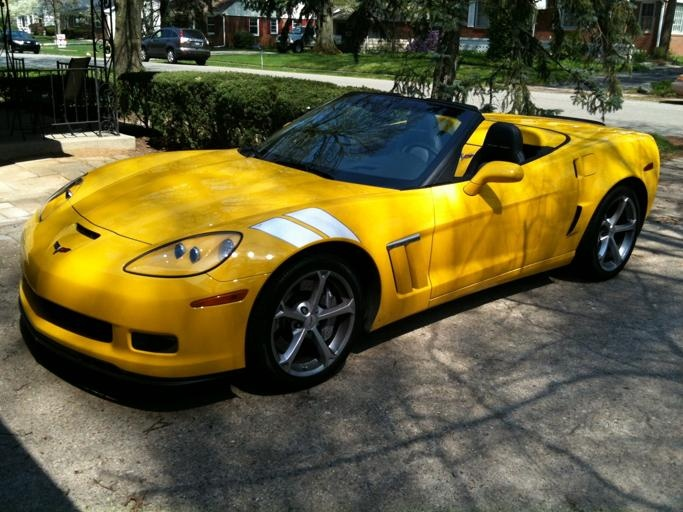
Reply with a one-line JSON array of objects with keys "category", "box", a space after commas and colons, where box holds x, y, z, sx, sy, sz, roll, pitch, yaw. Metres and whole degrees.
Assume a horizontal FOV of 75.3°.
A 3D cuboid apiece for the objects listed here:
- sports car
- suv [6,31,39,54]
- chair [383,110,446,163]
[{"category": "sports car", "box": [0.385, -0.594, 4.400, 5.708, 1.942, 2.403, -11, 24, -31]}, {"category": "suv", "box": [-29.526, -22.212, 45.800, 1.866, 2.532, 7.437, -9, 23, -27]}, {"category": "chair", "box": [0.573, -1.014, 3.778, 0.441, 0.442, 0.320, 13, 21, 32]}]
